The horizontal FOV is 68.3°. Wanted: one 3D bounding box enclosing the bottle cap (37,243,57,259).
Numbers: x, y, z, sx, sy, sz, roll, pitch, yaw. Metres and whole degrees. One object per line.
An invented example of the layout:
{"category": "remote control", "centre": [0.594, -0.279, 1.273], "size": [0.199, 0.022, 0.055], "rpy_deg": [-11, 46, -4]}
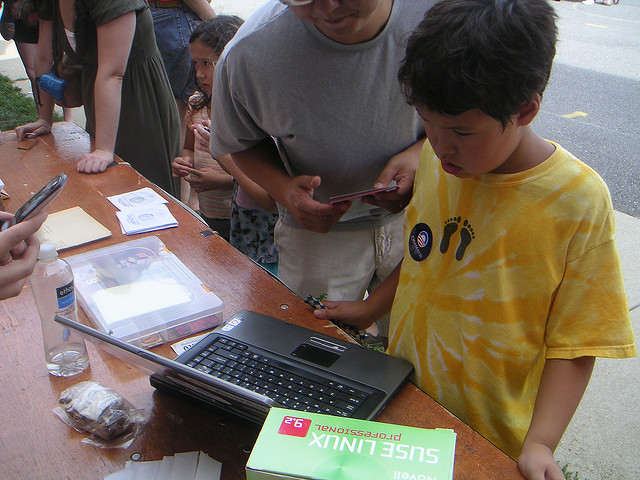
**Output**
{"category": "bottle cap", "centre": [-0.670, 0.024, 1.155], "size": [0.036, 0.020, 0.038], "rpy_deg": [-2, 26, -21]}

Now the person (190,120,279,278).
{"category": "person", "centre": [-0.343, -0.109, 2.266], "size": [0.258, 0.800, 0.255], "rpy_deg": [14, 39, 15]}
